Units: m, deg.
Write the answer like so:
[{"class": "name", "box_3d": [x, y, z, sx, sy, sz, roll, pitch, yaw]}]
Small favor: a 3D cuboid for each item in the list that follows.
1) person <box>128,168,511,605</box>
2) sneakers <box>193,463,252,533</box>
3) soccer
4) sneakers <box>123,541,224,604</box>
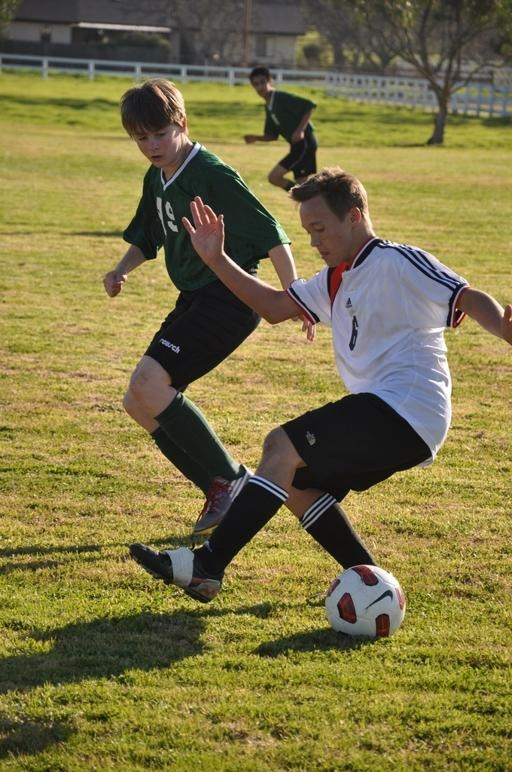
[{"class": "person", "box_3d": [0.249, 0.027, 3.409, 1.090, 1.458, 0.552, 7, 12, 10]}, {"class": "sneakers", "box_3d": [-0.126, 0.418, 3.870, 0.138, 0.310, 0.113, 44, -5, -20]}, {"class": "soccer", "box_3d": [0.355, 0.746, 3.436, 0.283, 0.255, 0.253, 1, 8, 9]}, {"class": "sneakers", "box_3d": [-0.244, 0.612, 3.443, 0.392, 0.150, 0.131, 24, 4, -16]}]
